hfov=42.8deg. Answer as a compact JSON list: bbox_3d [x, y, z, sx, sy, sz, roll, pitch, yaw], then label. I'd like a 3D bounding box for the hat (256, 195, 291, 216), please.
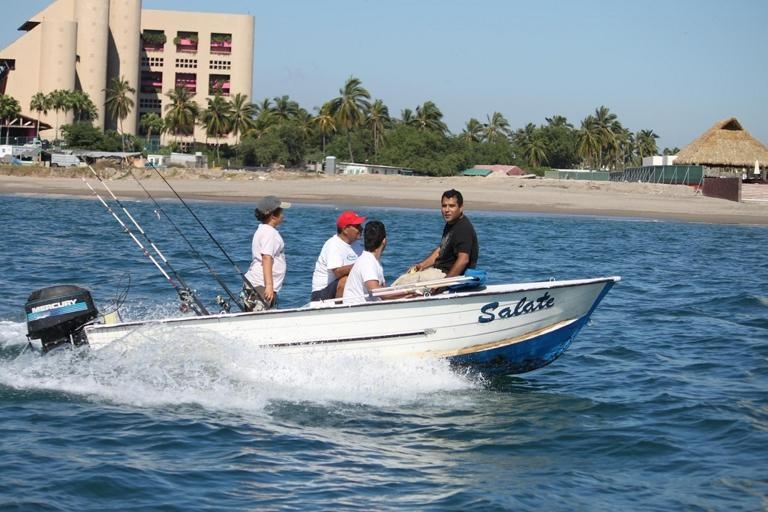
[{"bbox_3d":[-1.517,-0.735,13.744,0.473,0.159,0.289,-11,19,-37],"label":"hat"}]

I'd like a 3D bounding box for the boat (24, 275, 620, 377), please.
[{"bbox_3d":[-0.853,0.909,13.650,8.069,1.481,0.944,1,5,-2],"label":"boat"}]

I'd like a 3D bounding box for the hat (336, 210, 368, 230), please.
[{"bbox_3d":[-0.428,-0.519,13.592,0.424,0.173,0.236,-3,14,3],"label":"hat"}]

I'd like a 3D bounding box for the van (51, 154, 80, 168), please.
[{"bbox_3d":[-21.252,-6.561,65.579,1.807,0.919,4.561,0,4,-18],"label":"van"}]
